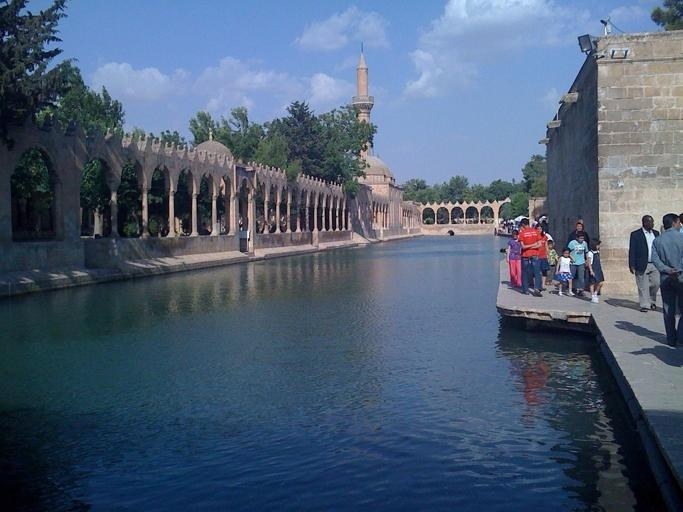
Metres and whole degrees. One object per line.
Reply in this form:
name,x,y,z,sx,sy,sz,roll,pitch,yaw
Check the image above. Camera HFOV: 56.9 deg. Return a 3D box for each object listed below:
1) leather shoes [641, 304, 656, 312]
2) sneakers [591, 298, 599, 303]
leather shoes,5.717,0.999,11.728,0.382,0.165,0.128,0,-3,-36
sneakers,5.152,0.931,12.807,0.069,0.092,0.204,-2,-5,7
